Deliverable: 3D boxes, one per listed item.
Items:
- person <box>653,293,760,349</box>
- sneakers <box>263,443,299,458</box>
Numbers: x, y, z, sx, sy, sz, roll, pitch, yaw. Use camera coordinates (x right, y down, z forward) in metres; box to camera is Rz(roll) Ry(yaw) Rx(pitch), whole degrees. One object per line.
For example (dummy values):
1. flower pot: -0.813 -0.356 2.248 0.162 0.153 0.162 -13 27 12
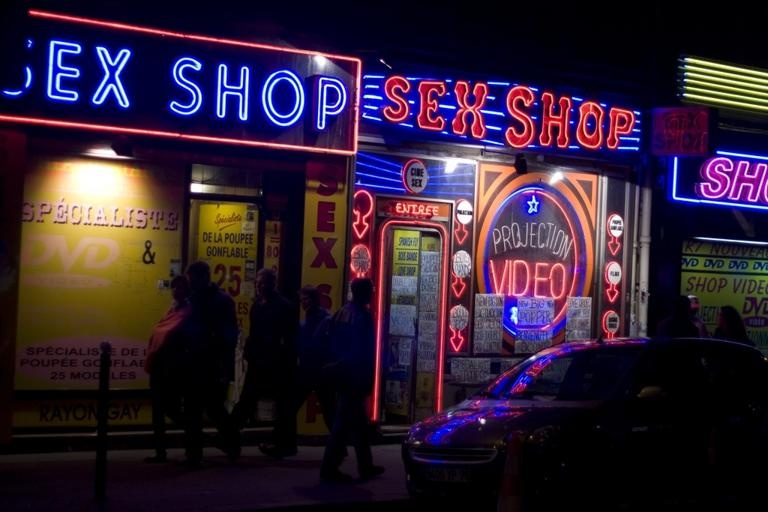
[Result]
1. person: 5.160 1.026 13.239 1.056 0.569 0.400 4 0 8
2. sneakers: -1.446 2.708 11.301 0.503 0.210 0.185 6 -6 -8
